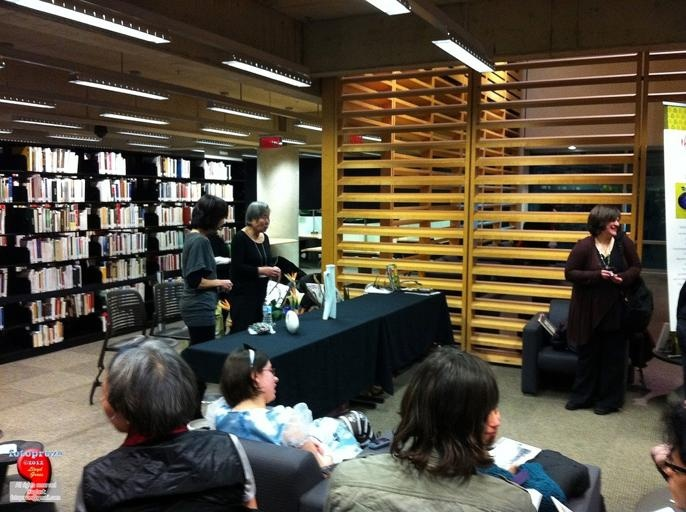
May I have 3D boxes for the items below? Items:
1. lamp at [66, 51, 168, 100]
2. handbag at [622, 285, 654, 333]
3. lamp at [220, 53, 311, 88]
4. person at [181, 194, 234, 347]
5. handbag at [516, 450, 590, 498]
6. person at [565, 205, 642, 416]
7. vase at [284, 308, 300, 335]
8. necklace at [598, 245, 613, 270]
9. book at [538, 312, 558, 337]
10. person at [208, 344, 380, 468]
[{"bbox_3d":[-2.516,-1.936,5.656,0.295,0.123,1.197,2,8,23],"label":"lamp"},{"bbox_3d":[2.741,0.511,4.604,0.208,0.516,0.325,4,10,39],"label":"handbag"},{"bbox_3d":[-0.742,-1.880,5.077,0.152,0.106,1.152,4,9,35],"label":"lamp"},{"bbox_3d":[-1.123,0.132,4.142,0.448,1.275,0.410,-6,9,-25],"label":"person"},{"bbox_3d":[1.109,1.104,2.565,0.185,0.068,0.227,-11,15,-44],"label":"handbag"},{"bbox_3d":[2.452,0.502,4.728,0.630,1.964,0.423,2,9,24],"label":"person"},{"bbox_3d":[-0.401,0.540,4.029,0.168,0.236,0.160,-3,-3,0],"label":"vase"},{"bbox_3d":[2.459,0.022,4.663,0.119,0.179,0.178,-11,-20,1],"label":"necklace"},{"bbox_3d":[2.135,0.720,5.205,0.208,0.063,0.201,39,30,4],"label":"book"},{"bbox_3d":[-0.191,0.974,3.017,0.682,0.663,1.189,-15,-19,34],"label":"person"}]
